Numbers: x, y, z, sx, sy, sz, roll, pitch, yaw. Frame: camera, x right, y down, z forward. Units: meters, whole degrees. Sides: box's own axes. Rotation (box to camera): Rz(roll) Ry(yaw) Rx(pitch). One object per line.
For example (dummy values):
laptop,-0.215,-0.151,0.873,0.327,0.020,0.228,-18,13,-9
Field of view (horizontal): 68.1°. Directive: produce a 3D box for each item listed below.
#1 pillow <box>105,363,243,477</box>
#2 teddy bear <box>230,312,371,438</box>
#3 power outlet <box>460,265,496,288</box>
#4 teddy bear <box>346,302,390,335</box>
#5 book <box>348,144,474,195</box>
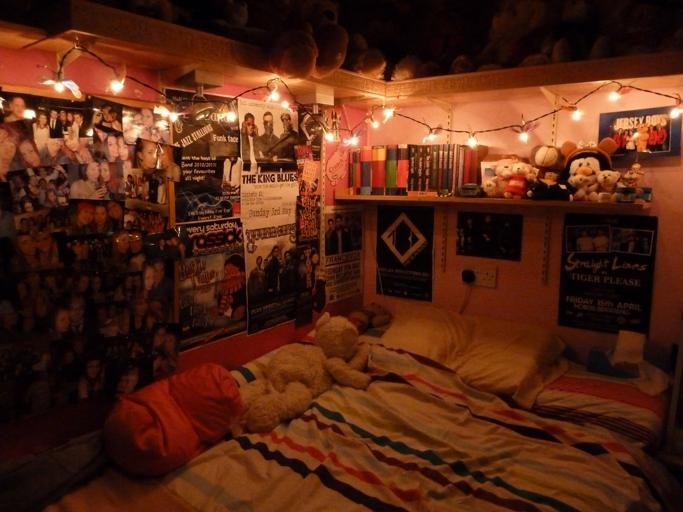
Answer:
pillow,-0.741,0.692,2.282,0.415,0.216,0.617,38,38,23
teddy bear,-0.236,0.630,2.649,0.465,0.232,0.590,18,24,35
power outlet,0.897,0.131,3.281,0.233,0.142,0.052,4,10,24
teddy bear,0.206,0.435,3.473,0.185,0.064,0.210,20,22,37
book,0.458,-0.556,3.262,0.843,0.317,0.101,5,10,26
